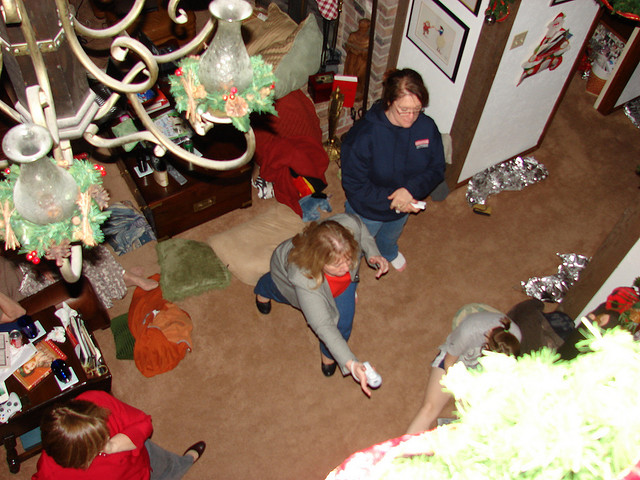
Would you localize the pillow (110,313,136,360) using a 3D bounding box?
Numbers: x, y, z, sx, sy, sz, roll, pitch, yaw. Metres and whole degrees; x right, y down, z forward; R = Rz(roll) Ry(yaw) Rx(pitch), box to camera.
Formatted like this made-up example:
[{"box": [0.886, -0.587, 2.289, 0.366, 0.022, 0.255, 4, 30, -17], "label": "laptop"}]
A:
[{"box": [-1.580, 0.793, 3.961, 0.155, 0.121, 0.373, -16, 50, -18], "label": "pillow"}]

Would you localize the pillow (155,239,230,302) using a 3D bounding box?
[{"box": [-1.105, 0.264, 4.266, 0.545, 0.131, 0.563, -12, 58, -25], "label": "pillow"}]

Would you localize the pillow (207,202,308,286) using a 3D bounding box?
[{"box": [-0.591, 0.016, 4.530, 0.843, 0.217, 0.564, -32, 74, -22], "label": "pillow"}]

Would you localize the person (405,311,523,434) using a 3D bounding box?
[{"box": [0.967, 0.920, 3.390, 0.787, 0.934, 0.405, -19, 49, -21], "label": "person"}]

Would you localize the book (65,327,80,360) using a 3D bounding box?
[{"box": [-1.637, 0.694, 3.245, 0.226, 0.068, 0.050, 49, 30, 14], "label": "book"}]

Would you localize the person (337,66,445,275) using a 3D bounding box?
[{"box": [0.538, -0.406, 3.845, 0.807, 1.871, 0.570, -7, 46, -10], "label": "person"}]

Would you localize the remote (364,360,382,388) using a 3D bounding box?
[{"box": [0.343, 0.893, 3.272, 0.102, 0.183, 0.059, -32, 10, 14], "label": "remote"}]
